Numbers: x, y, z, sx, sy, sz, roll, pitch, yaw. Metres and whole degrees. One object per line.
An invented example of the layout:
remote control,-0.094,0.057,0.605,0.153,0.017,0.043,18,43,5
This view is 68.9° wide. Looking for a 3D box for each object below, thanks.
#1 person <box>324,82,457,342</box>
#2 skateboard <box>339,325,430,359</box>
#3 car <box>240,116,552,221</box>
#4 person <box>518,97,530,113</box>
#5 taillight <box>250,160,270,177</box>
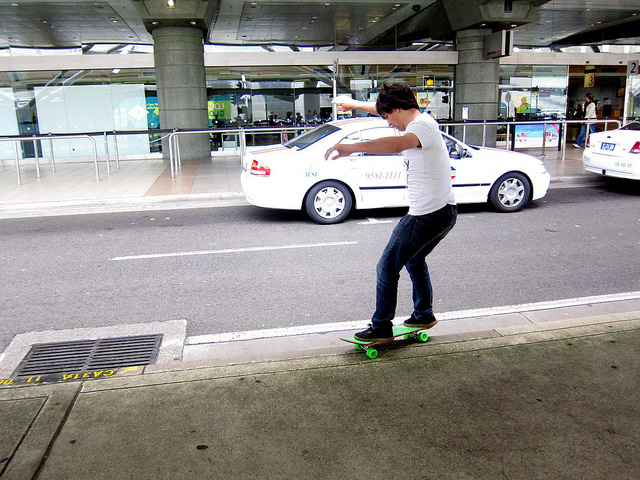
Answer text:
person,0.653,-0.160,3.883,1.006,2.207,0.496,-15,20,-35
skateboard,0.652,0.852,4.172,1.114,0.155,0.261,-3,6,-27
car,1.536,-1.514,9.387,6.886,1.562,2.291,-2,14,-7
person,10.646,-6.941,24.185,0.629,0.654,0.245,2,9,-12
taillight,-1.133,-1.325,8.664,0.407,0.305,0.120,10,21,42
